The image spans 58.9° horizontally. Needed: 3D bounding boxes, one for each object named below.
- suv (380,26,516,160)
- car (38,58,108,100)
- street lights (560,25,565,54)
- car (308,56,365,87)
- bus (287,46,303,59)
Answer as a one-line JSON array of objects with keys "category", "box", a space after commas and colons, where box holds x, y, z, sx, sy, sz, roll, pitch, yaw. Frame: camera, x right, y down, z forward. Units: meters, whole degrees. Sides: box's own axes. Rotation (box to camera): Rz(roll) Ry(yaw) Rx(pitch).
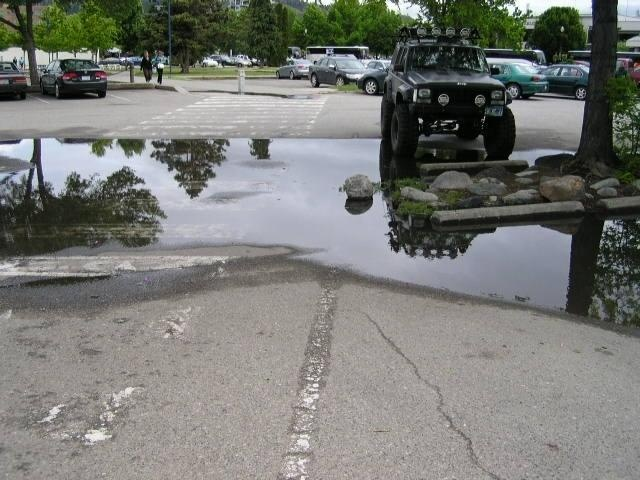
[{"category": "suv", "box": [2.905, -3.712, 13.990, 1.971, 2.938, 4.114, -1, 12, -4]}, {"category": "car", "box": [-11.953, -7.810, 27.331, 3.473, 1.767, 1.857, 12, 21, 29]}, {"category": "street lights", "box": [36.141, -30.241, 84.854, 0.804, 3.548, 0.610, -8, 17, -29]}, {"category": "car", "box": [0.947, -10.684, 35.824, 1.687, 1.617, 3.812, -11, 16, -32]}, {"category": "bus", "box": [-3.725, -27.993, 84.177, 1.931, 1.454, 5.910, -1, 20, -6]}]
